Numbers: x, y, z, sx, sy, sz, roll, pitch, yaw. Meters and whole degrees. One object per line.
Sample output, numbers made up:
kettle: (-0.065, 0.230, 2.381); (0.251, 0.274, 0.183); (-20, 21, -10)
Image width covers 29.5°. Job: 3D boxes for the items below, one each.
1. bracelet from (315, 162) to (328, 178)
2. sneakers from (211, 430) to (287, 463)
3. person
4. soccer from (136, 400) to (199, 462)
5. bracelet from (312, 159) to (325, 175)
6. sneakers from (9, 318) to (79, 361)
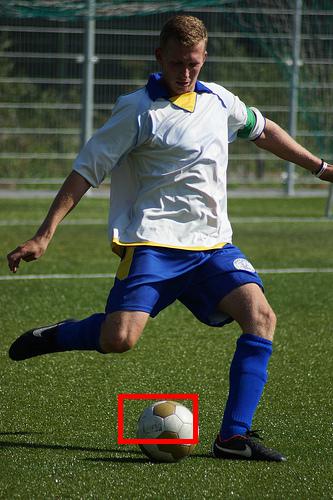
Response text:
bracelet: (0.669, -0.349, 2.782); (0.032, 0.064, 0.059); (32, -14, -16)
sneakers: (0.274, 0.682, 2.216); (0.286, 0.110, 0.089); (1, -6, 4)
person: (-0.022, -0.093, 2.364); (1.008, 1.544, 0.583); (3, 9, 9)
soccer: (-0.002, 0.641, 2.235); (0.217, 0.199, 0.211); (-5, -2, -3)
bracelet: (0.660, -0.363, 2.775); (0.024, 0.057, 0.054); (26, -17, -13)
sneakers: (-0.488, 0.382, 2.715); (0.375, 0.135, 0.127); (-10, 27, 9)
